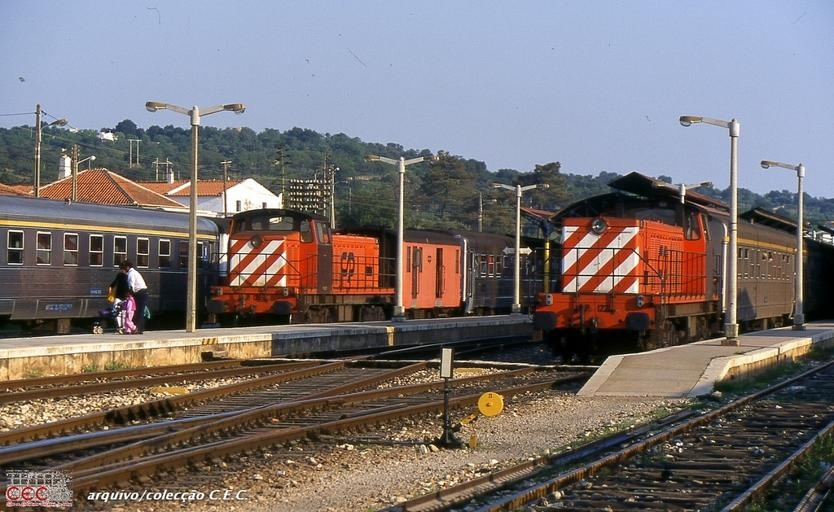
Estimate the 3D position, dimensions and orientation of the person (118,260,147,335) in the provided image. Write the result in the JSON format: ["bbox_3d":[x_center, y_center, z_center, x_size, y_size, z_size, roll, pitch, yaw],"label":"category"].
[{"bbox_3d":[-8.983,1.310,25.378,0.719,2.275,0.944,1,-3,-12],"label":"person"}]
